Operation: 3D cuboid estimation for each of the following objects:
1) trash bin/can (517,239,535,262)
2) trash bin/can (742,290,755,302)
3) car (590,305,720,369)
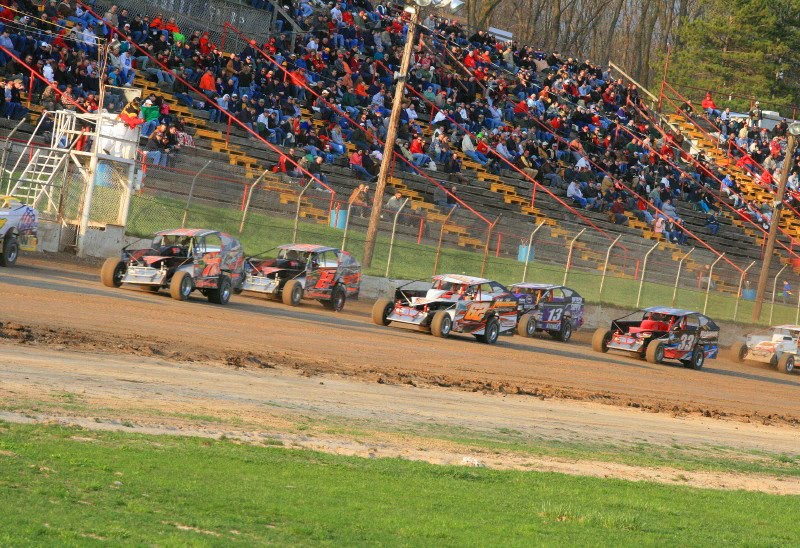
[{"bbox_3d":[4.593,-0.761,53.813,0.625,1.198,0.645,-3,-4,20],"label":"trash bin/can"},{"bbox_3d":[14.185,0.937,58.824,0.348,0.351,0.187,15,-15,-30],"label":"trash bin/can"},{"bbox_3d":[8.550,2.016,47.357,4.055,1.732,1.735,11,-2,-20],"label":"car"}]
